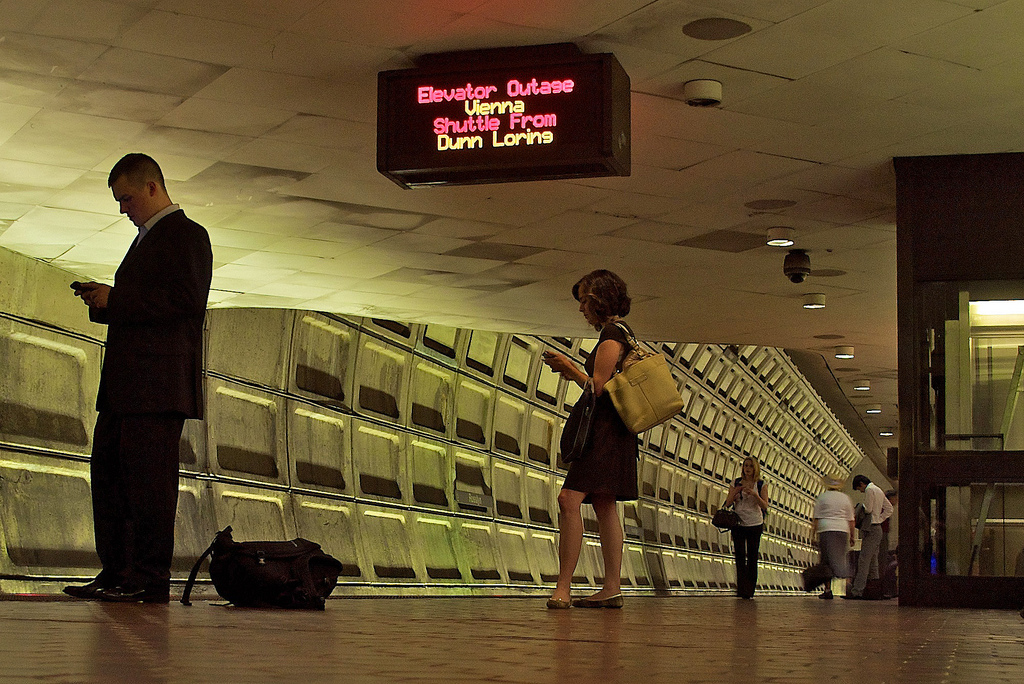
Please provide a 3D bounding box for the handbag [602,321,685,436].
[{"bbox_3d":[1.007,0.225,6.298,0.538,1.082,0.276,-35,-39,17],"label":"handbag"}]

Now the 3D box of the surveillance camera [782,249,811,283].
[{"bbox_3d":[4.498,-1.204,12.147,0.378,0.461,0.363,-3,-10,18],"label":"surveillance camera"}]

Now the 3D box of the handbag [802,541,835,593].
[{"bbox_3d":[6.253,4.506,15.675,0.617,1.287,1.531,-3,-10,20],"label":"handbag"}]

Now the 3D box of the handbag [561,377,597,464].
[{"bbox_3d":[0.455,0.655,6.130,0.149,0.548,0.435,16,0,-8],"label":"handbag"}]

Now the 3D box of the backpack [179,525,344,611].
[{"bbox_3d":[-1.882,1.735,5.846,0.980,0.387,0.732,4,-6,-5],"label":"backpack"}]

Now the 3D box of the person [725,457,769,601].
[{"bbox_3d":[4.280,3.575,14.032,0.711,2.089,0.972,-2,-10,15],"label":"person"}]

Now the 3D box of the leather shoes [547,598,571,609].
[{"bbox_3d":[0.380,2.076,6.112,0.145,0.045,0.074,9,-13,-11],"label":"leather shoes"}]

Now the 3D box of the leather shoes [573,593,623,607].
[{"bbox_3d":[0.723,2.141,6.330,0.418,0.108,0.142,5,-9,1],"label":"leather shoes"}]
